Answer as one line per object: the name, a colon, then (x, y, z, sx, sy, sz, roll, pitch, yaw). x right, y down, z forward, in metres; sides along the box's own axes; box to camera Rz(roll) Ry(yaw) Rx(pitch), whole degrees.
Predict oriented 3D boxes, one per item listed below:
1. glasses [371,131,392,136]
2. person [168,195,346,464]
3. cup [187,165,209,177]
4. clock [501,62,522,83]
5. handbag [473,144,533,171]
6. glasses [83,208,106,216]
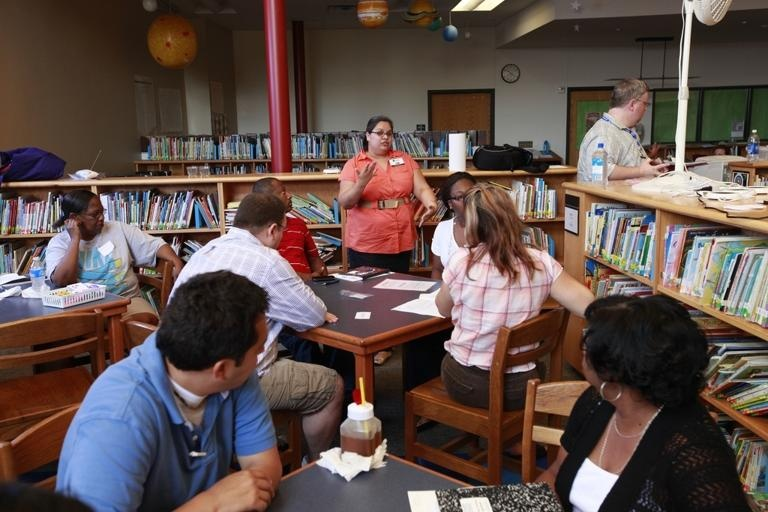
glasses: (-0.014, -0.923, 4.005, 0.141, 0.041, 0.043, -6, 15, -17)
person: (-0.697, 0.458, 2.823, 0.865, 1.440, 0.834, 4, 4, 37)
cup: (-1.761, -0.804, 5.048, 0.218, 0.092, 0.156, 0, 6, -2)
clock: (2.661, -3.864, 11.113, 0.399, 0.402, 0.038, -2, 8, 7)
handbag: (1.105, -0.899, 5.041, 0.368, 0.148, 0.308, 2, 11, 21)
glasses: (-2.045, -0.313, 3.762, 0.117, 0.035, 0.114, 6, 11, 21)
